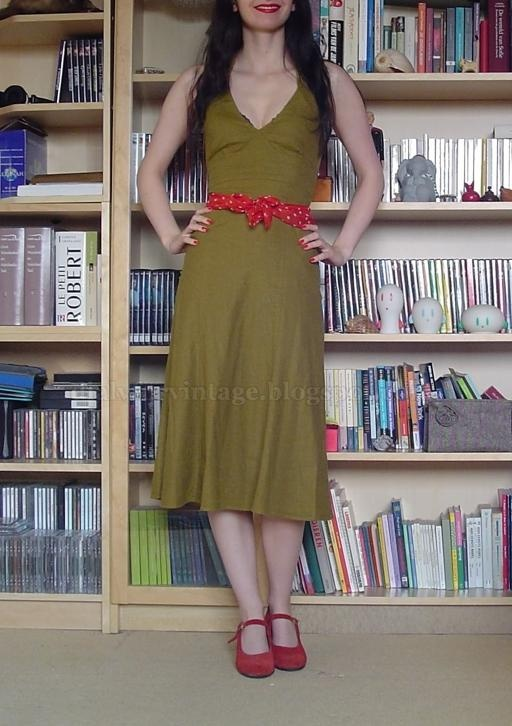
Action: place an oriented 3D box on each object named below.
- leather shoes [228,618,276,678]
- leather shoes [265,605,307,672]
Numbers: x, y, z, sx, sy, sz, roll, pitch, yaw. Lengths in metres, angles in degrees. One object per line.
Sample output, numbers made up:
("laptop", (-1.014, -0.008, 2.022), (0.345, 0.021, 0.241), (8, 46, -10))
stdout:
("leather shoes", (-0.004, 0.583, 1.513), (0.081, 0.117, 0.097), (-3, 3, -3))
("leather shoes", (0.063, 0.576, 1.577), (0.054, 0.060, 0.156), (0, 5, -7))
